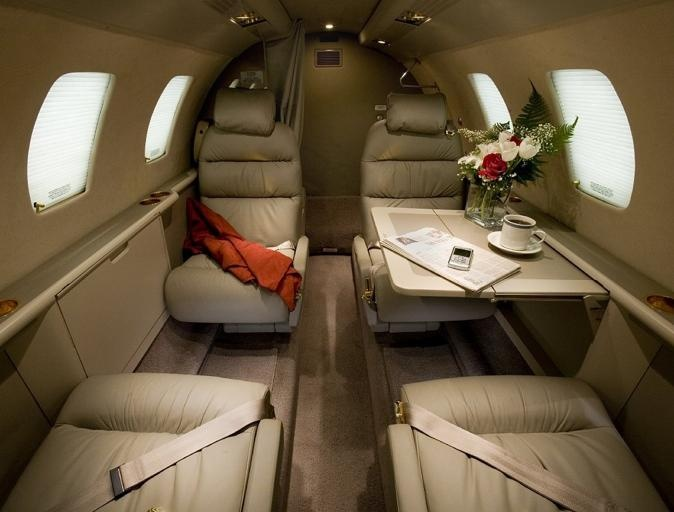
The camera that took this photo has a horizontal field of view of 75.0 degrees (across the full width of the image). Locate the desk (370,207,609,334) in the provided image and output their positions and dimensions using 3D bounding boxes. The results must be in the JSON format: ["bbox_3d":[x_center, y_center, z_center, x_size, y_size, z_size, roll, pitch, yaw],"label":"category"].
[{"bbox_3d":[0.783,0.167,2.686,1.104,0.683,1.012,3,18,-3],"label":"desk"}]

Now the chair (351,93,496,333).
[{"bbox_3d":[0.601,-0.332,3.197,0.882,1.493,1.458,0,21,2],"label":"chair"}]

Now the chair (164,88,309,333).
[{"bbox_3d":[-0.708,-0.352,3.357,0.987,1.767,1.214,2,17,-5],"label":"chair"}]

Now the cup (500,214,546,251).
[{"bbox_3d":[1.021,-0.130,2.521,0.258,0.186,0.173,22,38,36],"label":"cup"}]

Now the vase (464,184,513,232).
[{"bbox_3d":[0.949,-0.288,2.755,0.158,0.180,0.298,10,6,0],"label":"vase"}]

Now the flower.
[{"bbox_3d":[1.063,-0.636,2.866,0.757,0.819,0.790,12,33,11],"label":"flower"}]
